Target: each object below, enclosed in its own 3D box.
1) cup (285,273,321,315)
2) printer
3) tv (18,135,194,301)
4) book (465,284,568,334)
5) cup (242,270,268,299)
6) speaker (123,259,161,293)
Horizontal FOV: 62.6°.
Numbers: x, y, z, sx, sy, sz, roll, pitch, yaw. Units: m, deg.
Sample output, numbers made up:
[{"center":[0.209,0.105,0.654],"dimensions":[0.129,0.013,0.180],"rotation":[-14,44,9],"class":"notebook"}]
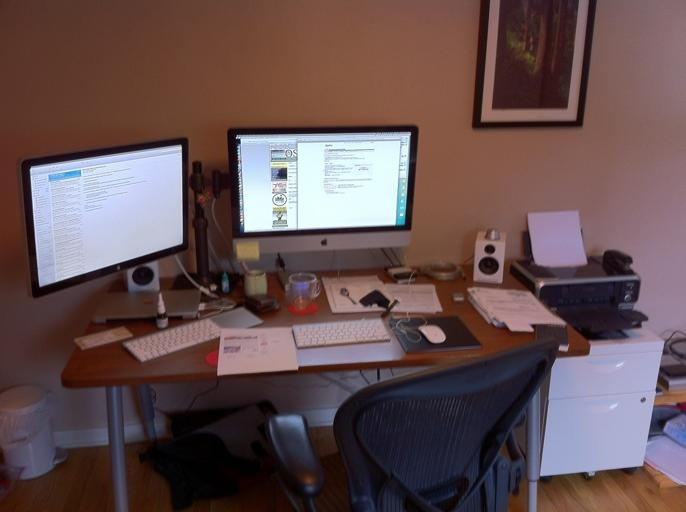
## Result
[{"center":[-0.174,0.167,2.450],"dimensions":[0.150,0.137,0.138],"rotation":[1,26,0],"class":"cup"},{"center":[1.110,0.162,2.604],"dimensions":[0.422,0.238,0.453],"rotation":[-7,33,-10],"class":"printer"},{"center":[-0.930,-0.172,2.215],"dimensions":[0.058,0.471,0.612],"rotation":[17,23,36],"class":"tv"},{"center":[0.720,0.221,2.367],"dimensions":[0.201,0.053,0.215],"rotation":[0,28,-10],"class":"book"},{"center":[-0.374,0.118,2.442],"dimensions":[0.096,0.105,0.103],"rotation":[4,17,-1],"class":"cup"},{"center":[-0.855,0.095,2.410],"dimensions":[0.121,0.137,0.129],"rotation":[-6,-13,-5],"class":"speaker"}]
